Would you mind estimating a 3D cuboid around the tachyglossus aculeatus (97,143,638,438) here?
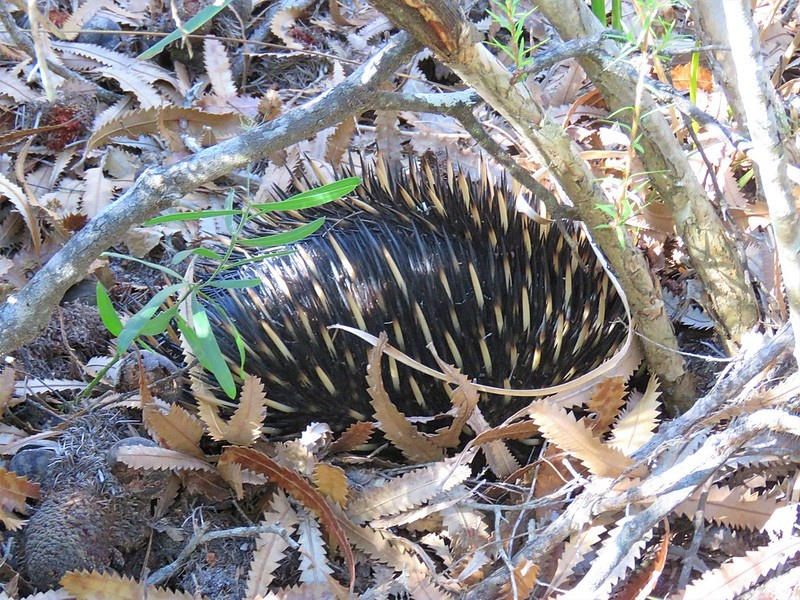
[{"bbox_3d":[0.098,0.009,2.013,0.886,0.297,0.773,33,44,26],"label":"tachyglossus aculeatus"}]
